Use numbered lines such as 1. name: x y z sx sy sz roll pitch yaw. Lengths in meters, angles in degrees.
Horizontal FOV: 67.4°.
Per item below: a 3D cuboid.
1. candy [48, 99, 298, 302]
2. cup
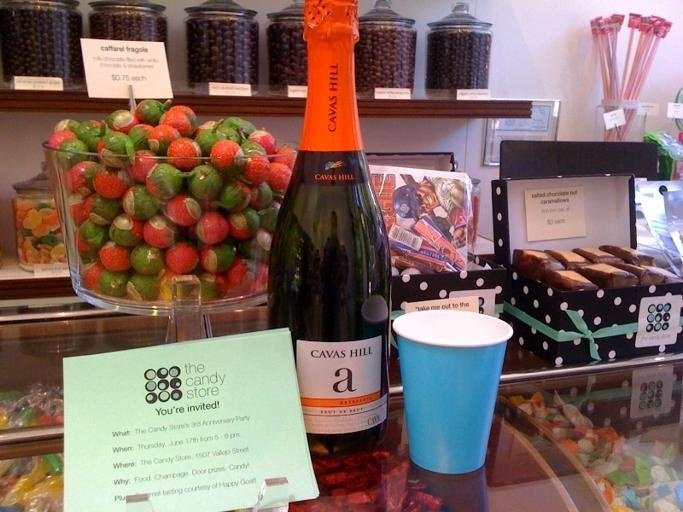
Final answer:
1. candy: -0.173 -0.036 0.570 0.217 0.159 0.226 1 4 10
2. cup: 0.104 0.126 0.565 0.136 0.153 0.143 0 13 0
